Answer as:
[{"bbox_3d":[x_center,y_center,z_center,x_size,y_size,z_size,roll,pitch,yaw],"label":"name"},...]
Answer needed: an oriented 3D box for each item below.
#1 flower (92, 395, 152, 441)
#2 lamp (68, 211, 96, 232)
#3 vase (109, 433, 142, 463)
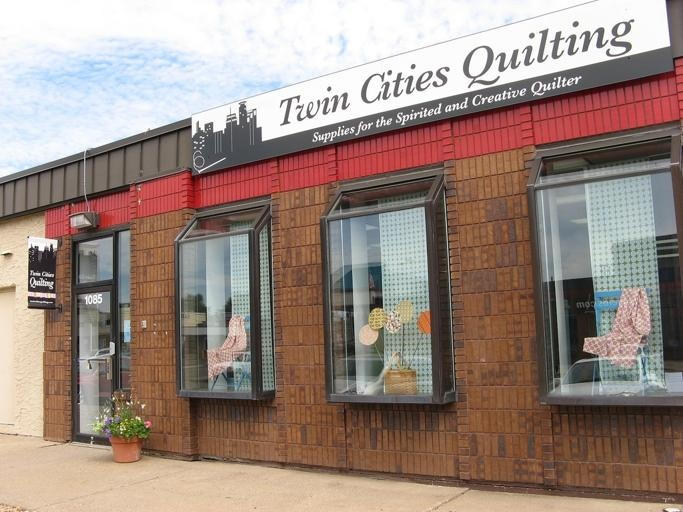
[{"bbox_3d":[-3.550,2.557,11.770,0.610,0.565,0.851,-6,-19,5],"label":"flower"},{"bbox_3d":[-4.562,-0.620,13.031,0.519,0.291,0.267,-3,0,39],"label":"lamp"},{"bbox_3d":[-3.299,2.937,11.255,0.430,0.318,0.434,0,-17,-2],"label":"vase"}]
